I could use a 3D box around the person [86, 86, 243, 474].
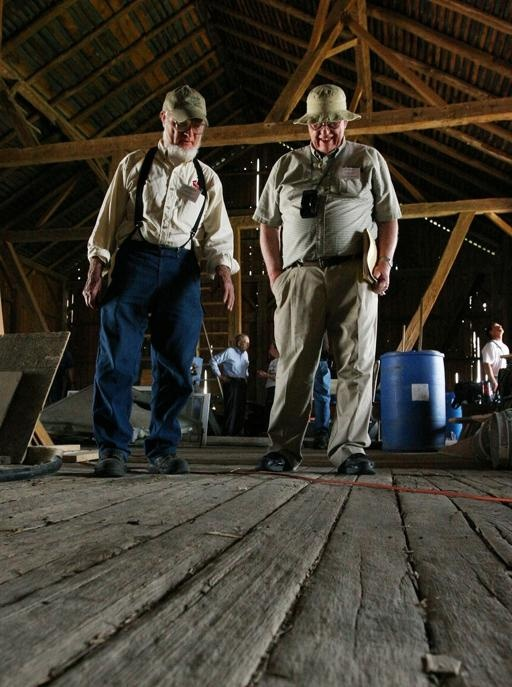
[{"bbox_3d":[-0.359,-0.271,2.185,0.614,1.524,0.434,5,-10,-18],"label":"person"}]

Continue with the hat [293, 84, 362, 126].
[{"bbox_3d":[0.281,-0.979,2.235,0.229,0.114,0.232,6,26,30],"label":"hat"}]

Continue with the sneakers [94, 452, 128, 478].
[{"bbox_3d":[-0.503,0.417,1.902,0.105,0.075,0.212,4,-9,-15],"label":"sneakers"}]

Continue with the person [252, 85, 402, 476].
[{"bbox_3d":[0.307,-0.291,2.303,0.632,1.612,0.408,2,-9,-2],"label":"person"}]

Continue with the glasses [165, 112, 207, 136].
[{"bbox_3d":[-0.287,-0.891,2.169,0.095,0.039,0.109,5,6,-23],"label":"glasses"}]

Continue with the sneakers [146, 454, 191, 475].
[{"bbox_3d":[-0.327,0.450,2.040,0.160,0.065,0.061,-11,-16,35],"label":"sneakers"}]

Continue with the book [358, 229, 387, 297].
[{"bbox_3d":[0.458,-0.339,2.157,0.067,0.216,0.168,-13,-44,28],"label":"book"}]

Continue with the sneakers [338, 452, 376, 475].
[{"bbox_3d":[0.378,0.449,2.056,0.134,0.073,0.149,0,-9,7],"label":"sneakers"}]

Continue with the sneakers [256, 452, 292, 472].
[{"bbox_3d":[0.079,0.467,2.121,0.068,0.052,0.146,-25,-5,0],"label":"sneakers"}]

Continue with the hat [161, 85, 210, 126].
[{"bbox_3d":[-0.278,-0.931,2.167,0.139,0.109,0.185,-6,38,-30],"label":"hat"}]
